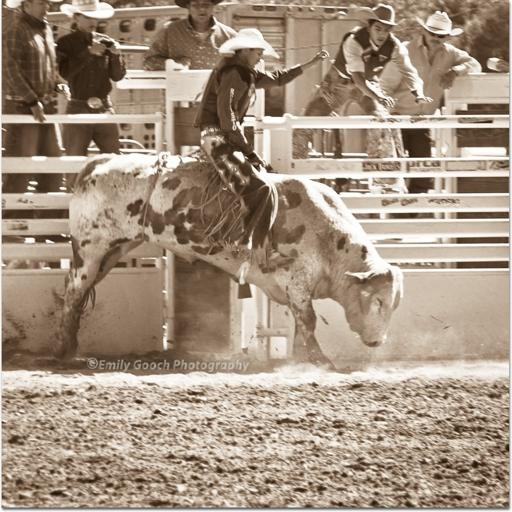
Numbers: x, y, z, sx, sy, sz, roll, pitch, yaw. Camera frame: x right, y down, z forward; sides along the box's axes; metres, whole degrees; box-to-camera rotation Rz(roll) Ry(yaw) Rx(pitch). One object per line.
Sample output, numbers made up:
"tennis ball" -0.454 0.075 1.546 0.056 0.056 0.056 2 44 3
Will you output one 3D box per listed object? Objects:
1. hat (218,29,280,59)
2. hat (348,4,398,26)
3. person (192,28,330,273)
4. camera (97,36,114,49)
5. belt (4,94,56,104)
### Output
"hat" -0.072 -1.825 9.199 0.412 0.128 0.318 1 3 8
"hat" 1.222 -2.450 10.954 0.316 0.217 0.470 -4 11 -27
"person" -0.087 -0.925 9.429 0.809 2.087 0.585 -2 11 -19
"camera" -1.567 -2.223 11.172 0.160 0.087 0.047 19 -8 37
"belt" -2.282 -1.559 10.648 0.298 0.061 0.195 0 3 1
